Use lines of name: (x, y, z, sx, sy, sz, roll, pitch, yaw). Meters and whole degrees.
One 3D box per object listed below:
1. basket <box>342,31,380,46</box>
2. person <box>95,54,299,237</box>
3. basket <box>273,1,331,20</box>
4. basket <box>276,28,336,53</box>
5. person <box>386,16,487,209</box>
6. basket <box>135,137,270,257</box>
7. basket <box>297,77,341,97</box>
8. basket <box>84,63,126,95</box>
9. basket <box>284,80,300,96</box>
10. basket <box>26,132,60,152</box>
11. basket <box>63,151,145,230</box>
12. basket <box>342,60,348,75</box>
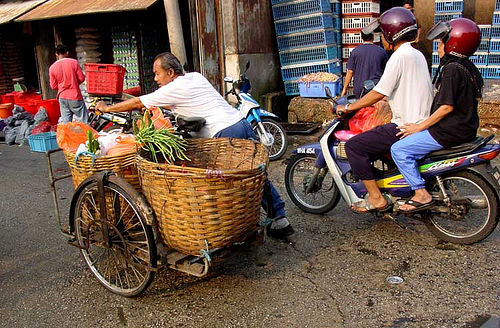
basket: (2.689, -3.054, 10.690, 0.850, 0.352, 0.522, -2, 21, 8)
person: (-0.531, -0.633, 5.012, 2.309, 1.290, 0.859, 2, 27, -20)
basket: (1.118, -3.670, 10.495, 1.328, 0.387, 0.134, 9, 26, 32)
basket: (1.599, -2.963, 10.872, 1.316, 0.430, 0.961, 3, 0, 42)
person: (2.122, -0.533, 4.913, 1.106, 2.005, 0.556, -17, 24, -26)
basket: (-0.440, 0.354, 4.616, 1.274, 0.909, 1.408, -3, 13, -9)
basket: (1.665, -1.710, 9.984, 0.609, 0.349, 0.871, -14, 18, -42)
basket: (-2.969, -1.826, 9.279, 0.620, 0.491, 0.787, -5, 6, -15)
basket: (1.044, -1.894, 10.968, 0.358, 0.334, 0.218, -1, -2, 25)
basket: (-4.623, -0.497, 9.909, 0.661, 0.277, 0.431, 3, 14, 11)
basket: (-1.499, 0.252, 4.712, 0.873, 0.641, 0.766, -4, 8, 25)
basket: (2.386, -2.425, 11.102, 0.104, 0.363, 0.237, -3, 22, 7)
